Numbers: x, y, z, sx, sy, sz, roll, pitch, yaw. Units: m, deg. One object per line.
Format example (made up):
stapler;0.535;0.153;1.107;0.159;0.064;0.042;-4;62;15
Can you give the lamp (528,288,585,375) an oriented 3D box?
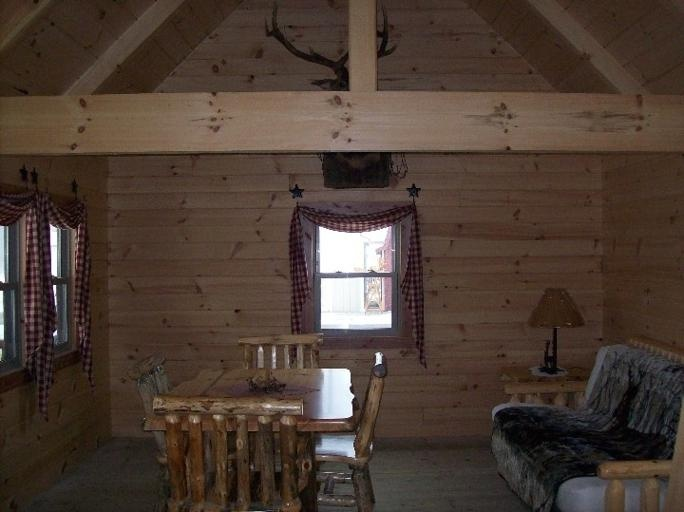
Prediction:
lamp;1.853;0.610;6.392;0.528;0.705;0.508;-8;16;-15
